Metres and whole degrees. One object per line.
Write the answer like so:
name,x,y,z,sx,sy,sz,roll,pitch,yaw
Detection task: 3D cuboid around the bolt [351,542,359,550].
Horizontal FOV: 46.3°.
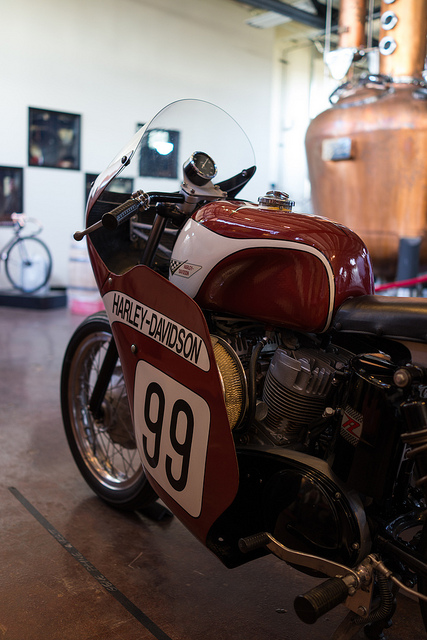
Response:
bolt,0.217,0.343,0.763,0.010,0.010,0.004,7,7,28

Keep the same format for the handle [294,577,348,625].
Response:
handle,0.156,0.403,0.717,0.076,0.057,0.052,0,8,-28

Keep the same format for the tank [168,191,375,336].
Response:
tank,0.099,-0.134,0.990,0.371,0.232,0.229,18,21,24

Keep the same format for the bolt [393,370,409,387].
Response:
bolt,0.255,0.079,0.685,0.007,0.023,0.025,0,8,-28

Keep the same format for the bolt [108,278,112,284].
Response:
bolt,-0.242,-0.092,1.179,0.009,0.011,0.010,-1,-3,4

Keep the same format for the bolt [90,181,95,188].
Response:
bolt,-0.322,-0.361,1.334,0.005,0.013,0.013,7,-3,-21

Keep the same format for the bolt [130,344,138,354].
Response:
bolt,-0.173,0.063,1.100,0.007,0.020,0.020,-3,14,-35

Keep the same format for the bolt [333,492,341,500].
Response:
bolt,0.192,0.273,0.779,0.009,0.011,0.003,7,7,25

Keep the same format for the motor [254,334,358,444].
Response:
motor,0.154,0.125,0.910,0.163,0.195,0.145,7,7,25

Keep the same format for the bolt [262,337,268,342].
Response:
bolt,0.097,0.037,0.934,0.007,0.007,0.007,9,-22,3

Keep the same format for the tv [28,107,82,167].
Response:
tv,-2.155,-2.464,6.713,0.032,0.894,0.860,13,12,43

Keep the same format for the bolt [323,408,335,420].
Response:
bolt,0.187,0.150,0.810,0.018,0.017,0.012,17,29,-4

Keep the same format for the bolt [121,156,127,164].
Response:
bolt,-0.217,-0.389,1.218,0.006,0.020,0.017,11,-8,-43

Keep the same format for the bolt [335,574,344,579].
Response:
bolt,0.189,0.382,0.750,0.009,0.002,0.009,1,0,-43

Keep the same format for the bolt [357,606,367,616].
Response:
bolt,0.227,0.442,0.763,0.005,0.014,0.014,-1,8,-34
